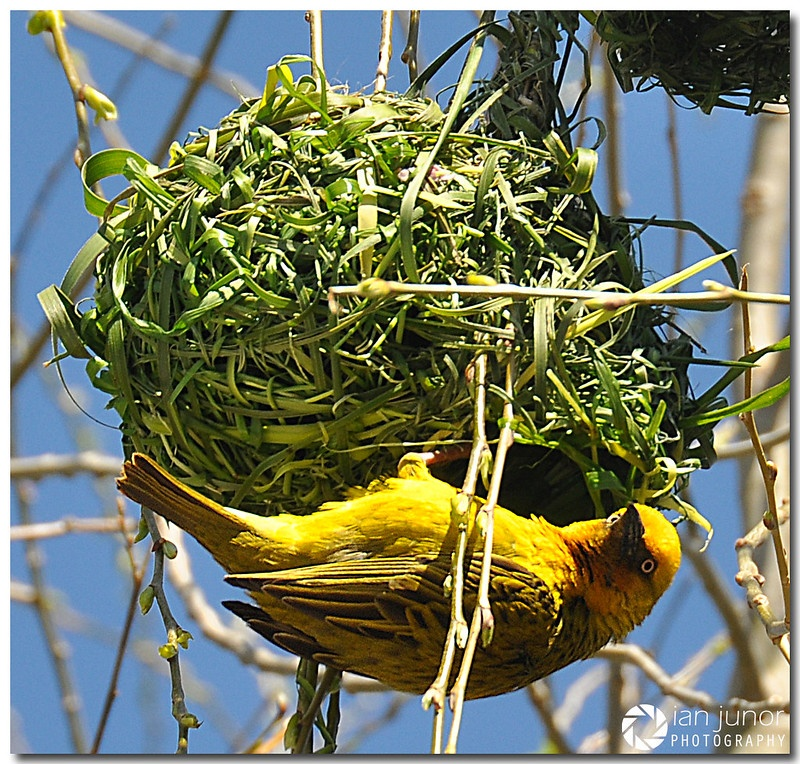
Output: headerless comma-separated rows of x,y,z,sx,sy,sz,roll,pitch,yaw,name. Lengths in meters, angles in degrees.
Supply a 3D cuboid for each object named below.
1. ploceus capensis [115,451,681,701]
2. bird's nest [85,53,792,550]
0.038,0.362,4.462,1.552,0.447,0.610,2,-13,6,ploceus capensis
-0.099,-0.166,4.631,1.177,0.769,1.274,-44,-24,9,bird's nest
